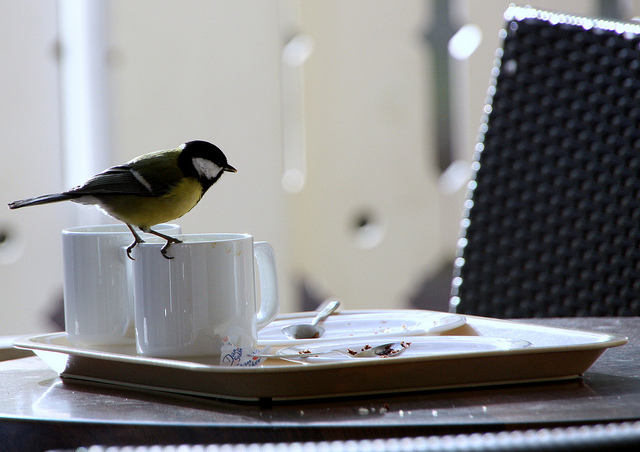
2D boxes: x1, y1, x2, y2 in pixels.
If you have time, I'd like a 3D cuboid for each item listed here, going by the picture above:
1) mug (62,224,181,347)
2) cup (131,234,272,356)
[{"bbox_3d":[-0.348,0.072,1.151,0.117,0.196,0.146,-10,-80,-34],"label":"mug"},{"bbox_3d":[-0.165,0.085,1.107,0.150,0.208,0.160,1,-86,18],"label":"cup"}]
